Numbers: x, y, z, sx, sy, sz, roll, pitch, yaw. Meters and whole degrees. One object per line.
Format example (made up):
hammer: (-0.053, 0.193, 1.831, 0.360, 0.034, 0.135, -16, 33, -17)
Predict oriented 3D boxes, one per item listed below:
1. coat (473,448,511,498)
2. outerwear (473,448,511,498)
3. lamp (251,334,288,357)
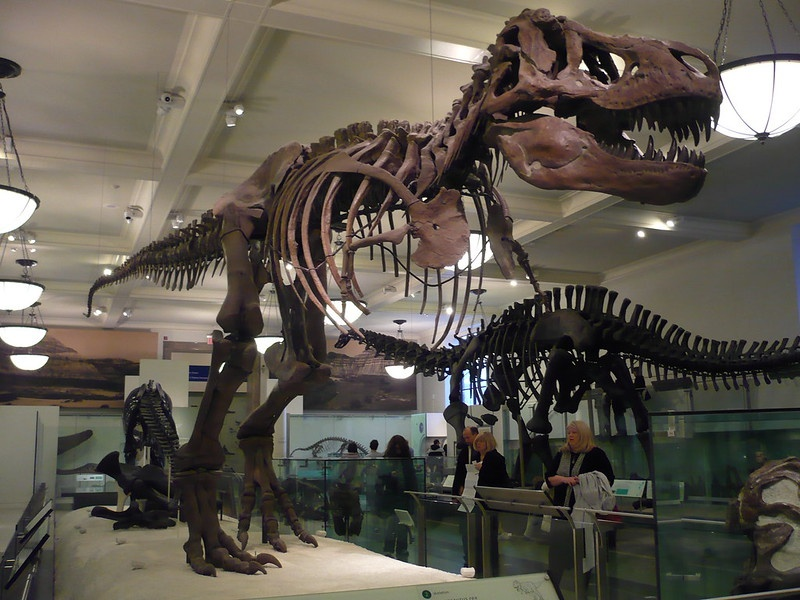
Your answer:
coat: (0.850, 1.566, 5.620, 0.310, 0.458, 0.344, -2, -15, 23)
outerwear: (0.826, 1.574, 5.648, 0.310, 0.458, 0.344, -2, -15, 23)
lamp: (-1.594, 0.542, 7.510, 0.374, 0.207, 0.892, 0, -3, -27)
